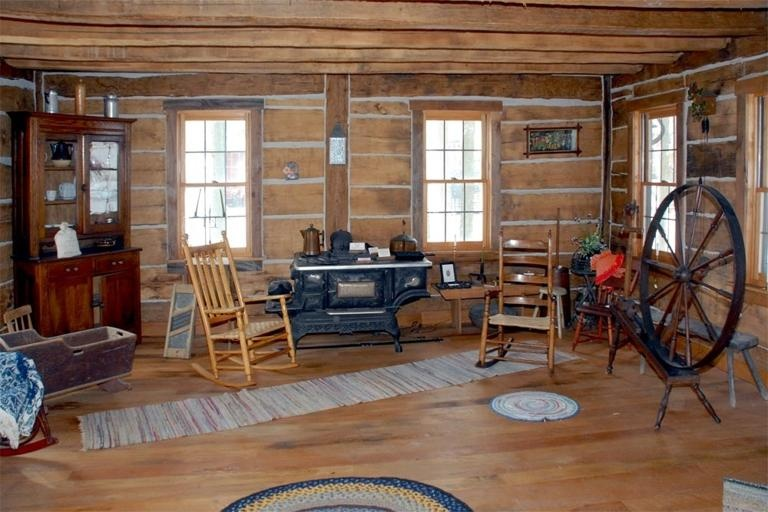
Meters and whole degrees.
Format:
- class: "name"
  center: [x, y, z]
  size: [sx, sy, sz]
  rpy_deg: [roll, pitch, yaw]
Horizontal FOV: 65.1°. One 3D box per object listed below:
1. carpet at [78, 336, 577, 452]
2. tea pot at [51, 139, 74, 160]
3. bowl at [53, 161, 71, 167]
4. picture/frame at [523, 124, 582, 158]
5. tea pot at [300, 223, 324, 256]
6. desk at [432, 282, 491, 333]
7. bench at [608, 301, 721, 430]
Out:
- class: "carpet"
  center: [-0.862, 1.460, 6.222]
  size: [4.147, 0.144, 0.854]
  rpy_deg: [-5, 7, -21]
- class: "tea pot"
  center: [-3.864, -1.267, 7.205]
  size: [0.247, 0.235, 0.120]
  rpy_deg: [-7, 10, -19]
- class: "bowl"
  center: [-3.869, -1.109, 7.208]
  size: [0.068, 0.098, 0.188]
  rpy_deg: [3, 10, 39]
- class: "picture/frame"
  center: [2.286, -1.609, 8.333]
  size: [0.779, 0.299, 0.023]
  rpy_deg: [0, 3, -5]
- class: "tea pot"
  center: [-0.938, -0.212, 7.812]
  size: [0.273, 0.364, 0.563]
  rpy_deg: [-5, 8, -6]
- class: "desk"
  center: [1.014, 0.679, 8.032]
  size: [1.015, 0.430, 0.443]
  rpy_deg: [-2, 9, -10]
- class: "bench"
  center: [2.731, 0.990, 6.060]
  size: [0.685, 1.082, 1.309]
  rpy_deg: [-4, 8, 1]
